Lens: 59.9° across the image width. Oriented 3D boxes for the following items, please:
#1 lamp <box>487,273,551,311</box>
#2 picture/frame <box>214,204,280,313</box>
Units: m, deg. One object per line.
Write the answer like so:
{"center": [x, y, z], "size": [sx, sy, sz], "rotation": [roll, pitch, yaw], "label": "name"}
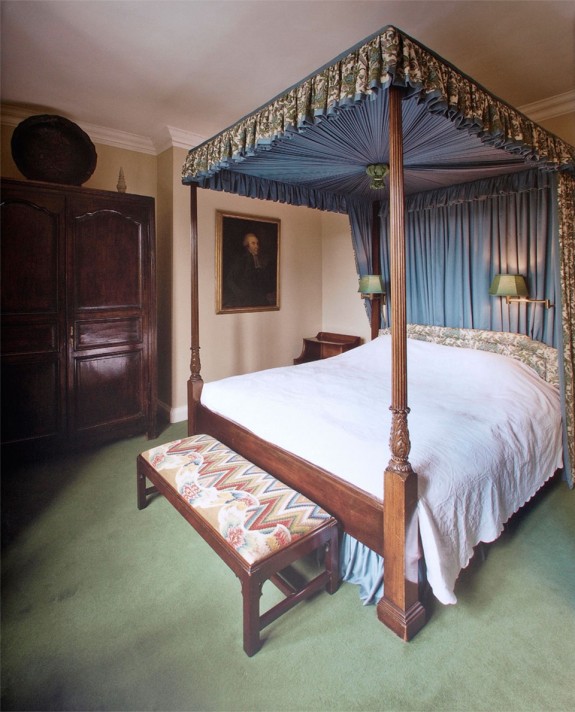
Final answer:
{"center": [1.643, -0.457, 3.541], "size": [0.217, 0.203, 0.305], "rotation": [-8, 16, -30], "label": "lamp"}
{"center": [-0.442, -0.994, 5.082], "size": [0.077, 1.311, 0.961], "rotation": [3, 5, 39], "label": "picture/frame"}
